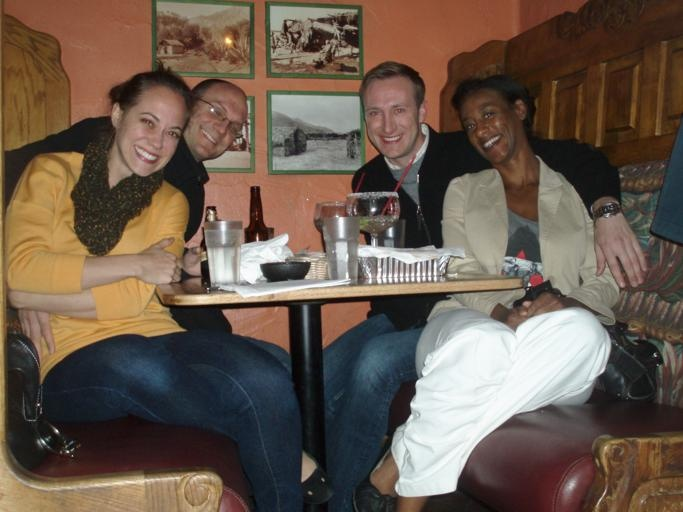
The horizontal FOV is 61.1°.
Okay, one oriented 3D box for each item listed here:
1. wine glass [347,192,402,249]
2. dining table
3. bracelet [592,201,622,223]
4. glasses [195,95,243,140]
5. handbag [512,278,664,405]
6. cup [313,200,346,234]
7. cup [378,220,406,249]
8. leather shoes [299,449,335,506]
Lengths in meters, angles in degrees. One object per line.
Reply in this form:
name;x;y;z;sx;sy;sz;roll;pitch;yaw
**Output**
wine glass;0.118;-0.124;2.078;0.195;0.221;0.191;-1;3;-9
dining table;-0.055;0.226;1.887;0.808;0.784;0.806;0;1;-17
bracelet;1.021;-0.150;2.221;0.103;0.068;0.101;-15;-8;33
glasses;-0.595;-0.675;2.856;0.179;0.061;0.182;25;14;-46
handbag;0.839;0.331;2.033;0.506;0.217;0.308;23;3;-11
cup;-0.041;-0.144;2.122;0.111;0.120;0.112;0;1;0
cup;0.197;-0.085;2.247;0.102;0.155;0.102;0;1;0
leather shoes;-0.104;0.748;1.976;0.100;0.182;0.064;-32;-11;-17
